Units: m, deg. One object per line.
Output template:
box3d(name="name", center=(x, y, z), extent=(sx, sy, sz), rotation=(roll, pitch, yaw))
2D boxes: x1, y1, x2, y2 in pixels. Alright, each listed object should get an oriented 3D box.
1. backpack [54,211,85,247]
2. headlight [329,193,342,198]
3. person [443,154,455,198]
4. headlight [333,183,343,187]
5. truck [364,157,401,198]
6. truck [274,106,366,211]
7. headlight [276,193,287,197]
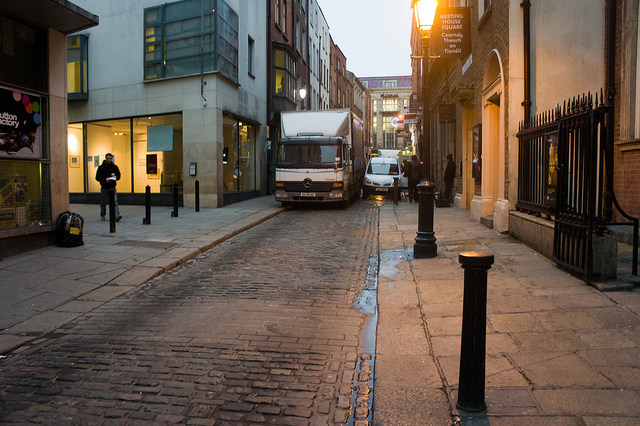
box3d(name="backpack", center=(-5.724, 0.353, 11.863), extent=(0.434, 0.858, 0.595), rotation=(6, 3, 11))
box3d(name="headlight", center=(0.570, -0.647, 18.736), extent=(0.450, 0.166, 0.047), rotation=(-4, 11, -14))
box3d(name="person", center=(5.147, -1.460, 20.545), extent=(0.367, 1.791, 0.644), rotation=(2, 11, 11))
box3d(name="headlight", center=(0.647, -1.032, 18.770), extent=(0.344, 0.131, 0.070), rotation=(-4, 12, -13))
box3d(name="truck", center=(3.361, -1.815, 27.216), extent=(1.886, 2.423, 4.401), rotation=(3, 3, 8))
box3d(name="truck", center=(0.198, -2.189, 21.688), extent=(2.016, 3.005, 6.019), rotation=(0, 2, 8))
box3d(name="headlight", center=(-1.388, -0.656, 18.986), extent=(0.400, 0.180, 0.043), rotation=(3, 12, 14))
